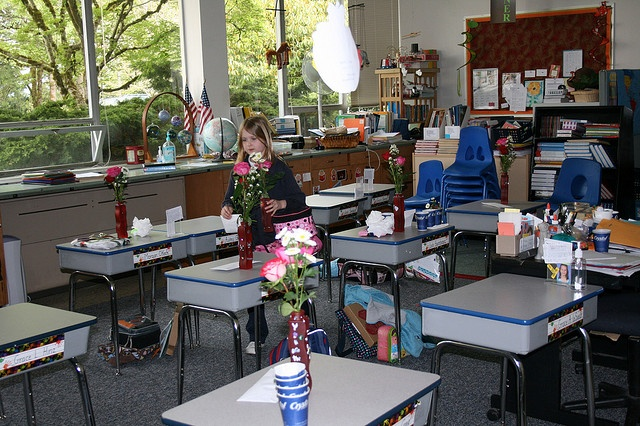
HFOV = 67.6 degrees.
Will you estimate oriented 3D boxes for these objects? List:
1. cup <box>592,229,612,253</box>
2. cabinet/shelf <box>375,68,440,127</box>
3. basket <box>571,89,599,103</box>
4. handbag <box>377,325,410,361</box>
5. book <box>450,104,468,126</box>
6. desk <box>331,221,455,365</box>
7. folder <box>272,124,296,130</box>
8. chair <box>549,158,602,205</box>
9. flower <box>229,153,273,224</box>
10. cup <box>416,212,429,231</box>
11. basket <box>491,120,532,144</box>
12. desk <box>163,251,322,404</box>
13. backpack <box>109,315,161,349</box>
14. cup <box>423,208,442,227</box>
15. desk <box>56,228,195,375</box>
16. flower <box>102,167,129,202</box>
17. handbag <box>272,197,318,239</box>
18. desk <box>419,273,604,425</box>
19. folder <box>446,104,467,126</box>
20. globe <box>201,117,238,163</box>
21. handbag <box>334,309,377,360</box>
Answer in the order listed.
[{"bbox_3d":[1.872,0.197,3.213,0.139,0.148,0.141,-1,-3,0],"label":"cup"},{"bbox_3d":[1.570,-2.095,8.673,0.601,1.423,1.231,6,11,38],"label":"cabinet/shelf"},{"bbox_3d":[3.630,-1.596,6.537,0.325,0.178,0.380,1,14,24],"label":"basket"},{"bbox_3d":[0.587,1.071,3.889,0.127,0.288,0.331,-1,1,30],"label":"handbag"},{"bbox_3d":[2.248,-1.614,7.950,0.367,0.356,0.097,0,3,-44],"label":"book"},{"bbox_3d":[0.683,0.780,4.580,0.999,1.369,1.412,5,10,35],"label":"desk"},{"bbox_3d":[-0.602,-1.375,7.588,0.259,0.058,0.253,-2,3,-20],"label":"folder"},{"bbox_3d":[2.924,-0.395,5.497,0.582,0.640,0.563,6,7,38],"label":"chair"},{"bbox_3d":[-0.487,-0.187,3.408,0.300,0.481,0.533,-7,13,-9],"label":"flower"},{"bbox_3d":[0.870,0.080,4.102,0.145,0.144,0.141,-1,0,0],"label":"cup"},{"bbox_3d":[2.834,-1.245,7.011,0.552,0.331,0.549,3,12,29],"label":"basket"},{"bbox_3d":[-0.574,1.006,4.446,0.894,1.026,1.504,1,4,37],"label":"desk"},{"bbox_3d":[-1.562,0.981,4.108,0.302,0.143,0.235,2,3,38],"label":"backpack"},{"bbox_3d":[0.997,0.041,4.243,0.160,0.121,0.164,-1,-1,0],"label":"cup"},{"bbox_3d":[-1.615,0.742,3.966,0.766,0.955,1.059,4,9,28],"label":"desk"},{"bbox_3d":[-1.779,-0.237,4.192,0.167,0.346,0.436,-11,14,-23],"label":"flower"},{"bbox_3d":[-0.203,0.061,3.868,0.349,0.231,0.225,-7,7,-11],"label":"handbag"},{"bbox_3d":[1.084,0.426,2.818,0.805,0.954,1.063,4,9,42],"label":"desk"},{"bbox_3d":[2.269,-1.615,7.908,0.389,0.380,0.127,-2,3,-39],"label":"folder"},{"bbox_3d":[-1.361,-1.035,6.484,0.496,0.572,0.548,-1,7,-7],"label":"globe"},{"bbox_3d":[0.322,1.026,3.987,0.093,0.342,0.343,-33,13,17],"label":"handbag"}]
